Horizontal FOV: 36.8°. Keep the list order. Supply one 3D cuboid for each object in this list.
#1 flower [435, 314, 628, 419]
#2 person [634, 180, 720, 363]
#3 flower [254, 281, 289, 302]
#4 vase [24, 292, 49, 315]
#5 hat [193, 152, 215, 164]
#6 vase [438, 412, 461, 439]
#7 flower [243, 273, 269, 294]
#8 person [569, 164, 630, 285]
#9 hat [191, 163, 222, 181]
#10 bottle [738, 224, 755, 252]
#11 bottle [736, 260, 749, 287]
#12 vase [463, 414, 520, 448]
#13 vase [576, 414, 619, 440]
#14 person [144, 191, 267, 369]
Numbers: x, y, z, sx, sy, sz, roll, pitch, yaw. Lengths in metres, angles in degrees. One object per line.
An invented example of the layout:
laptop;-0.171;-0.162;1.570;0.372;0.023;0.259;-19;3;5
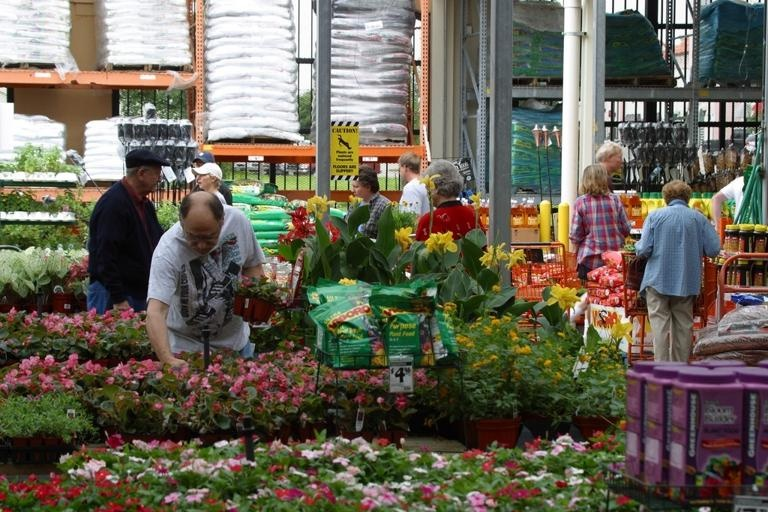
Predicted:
flower;1.127;0.847;8.248;0.908;0.389;0.873;3;-3;-36
person;2.699;0.249;10.610;0.697;1.438;0.306;0;3;16
flower;-0.823;0.253;8.414;0.184;0.081;0.183;7;5;-28
vase;-3.615;0.483;11.926;0.248;0.171;0.240;-1;-1;1
hat;-2.083;-1.151;13.435;0.235;0.155;0.314;-1;-1;13
vase;0.484;1.206;8.170;0.183;0.134;0.158;-1;2;-7
flower;-0.953;0.188;8.360;0.164;0.061;0.154;-2;9;-44
person;2.161;-0.339;11.511;0.577;1.167;0.372;-1;3;12
hat;-1.692;-0.837;11.248;0.281;0.148;0.191;23;-6;-29
bottle;3.312;-0.167;10.491;0.137;0.240;0.061;0;3;25
bottle;3.244;0.147;10.374;0.104;0.210;0.044;0;3;15
vase;0.796;1.269;8.110;0.332;0.231;0.339;2;-8;-43
vase;1.478;1.186;8.063;0.211;0.114;0.207;1;-4;18
person;-1.268;0.148;8.277;0.661;1.239;0.825;0;3;15
